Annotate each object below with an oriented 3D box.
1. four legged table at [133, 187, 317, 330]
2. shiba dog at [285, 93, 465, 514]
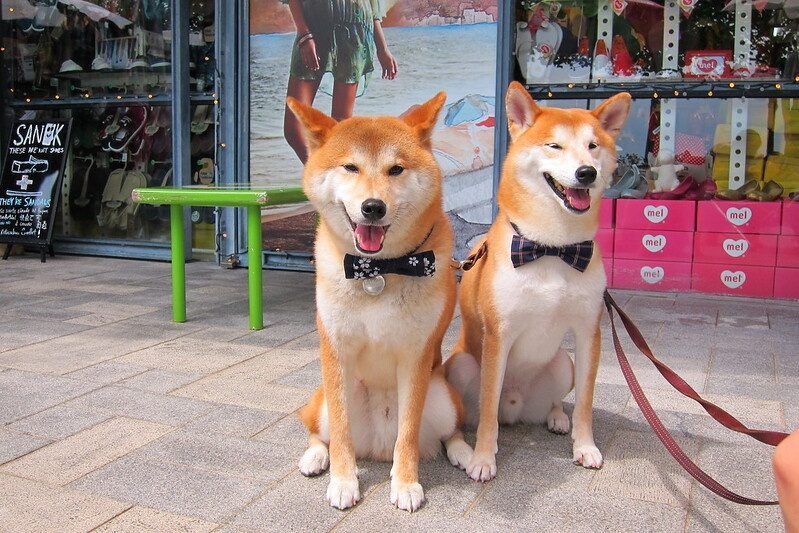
[{"bbox_3d":[-1.682,-0.185,5.948,1.469,1.119,1.508,1,6,12],"label":"four legged table"},{"bbox_3d":[-0.096,0.175,3.368,0.877,2.236,0.589,-2,10,-10],"label":"shiba dog"}]
